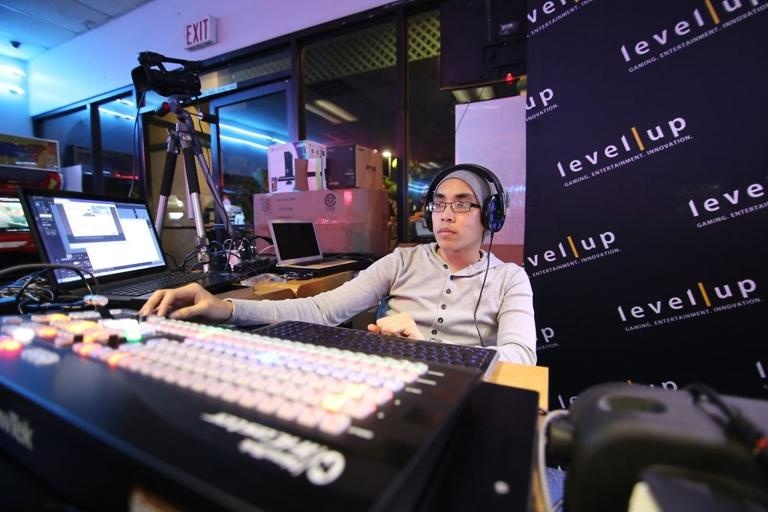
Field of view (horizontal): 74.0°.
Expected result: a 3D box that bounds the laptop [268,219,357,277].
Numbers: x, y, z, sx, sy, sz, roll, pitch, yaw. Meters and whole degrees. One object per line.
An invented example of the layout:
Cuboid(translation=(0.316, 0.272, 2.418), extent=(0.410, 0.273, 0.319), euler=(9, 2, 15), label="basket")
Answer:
Cuboid(translation=(-0.431, -0.047, 2.953), extent=(0.349, 0.269, 0.438), euler=(1, 4, 20), label="laptop")

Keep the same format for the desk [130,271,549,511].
Cuboid(translation=(-0.063, 0.323, 1.845), extent=(1.288, 0.561, 0.853), euler=(-3, 6, 23), label="desk")

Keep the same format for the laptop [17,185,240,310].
Cuboid(translation=(-1.110, -0.099, 2.079), extent=(0.486, 0.331, 0.546), euler=(5, 3, 15), label="laptop")

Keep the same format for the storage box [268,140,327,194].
Cuboid(translation=(-0.599, -0.622, 3.563), extent=(0.378, 0.325, 0.205), euler=(3, 9, 22), label="storage box")

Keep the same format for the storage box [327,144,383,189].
Cuboid(translation=(-0.216, -0.619, 3.736), extent=(0.356, 0.265, 0.360), euler=(1, 1, 32), label="storage box")
